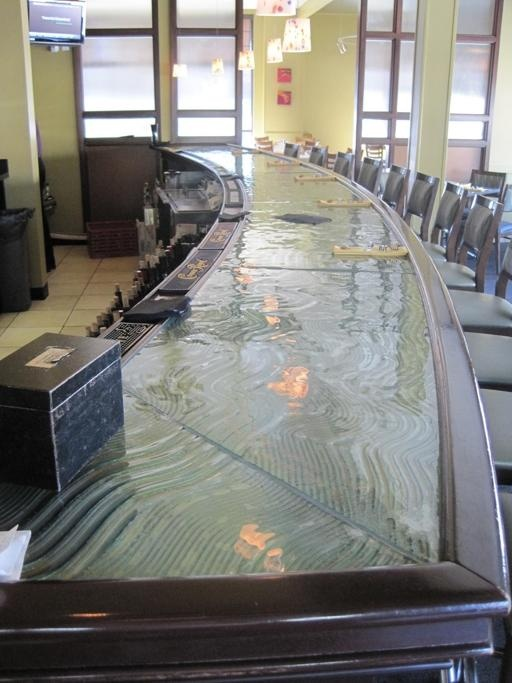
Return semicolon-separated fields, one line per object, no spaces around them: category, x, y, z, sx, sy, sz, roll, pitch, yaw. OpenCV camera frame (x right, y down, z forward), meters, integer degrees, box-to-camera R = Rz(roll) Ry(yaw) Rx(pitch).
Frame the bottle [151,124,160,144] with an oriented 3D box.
bottle;-1.381;-2.802;6.950;0.092;0.352;0.463;-3;9;-11
